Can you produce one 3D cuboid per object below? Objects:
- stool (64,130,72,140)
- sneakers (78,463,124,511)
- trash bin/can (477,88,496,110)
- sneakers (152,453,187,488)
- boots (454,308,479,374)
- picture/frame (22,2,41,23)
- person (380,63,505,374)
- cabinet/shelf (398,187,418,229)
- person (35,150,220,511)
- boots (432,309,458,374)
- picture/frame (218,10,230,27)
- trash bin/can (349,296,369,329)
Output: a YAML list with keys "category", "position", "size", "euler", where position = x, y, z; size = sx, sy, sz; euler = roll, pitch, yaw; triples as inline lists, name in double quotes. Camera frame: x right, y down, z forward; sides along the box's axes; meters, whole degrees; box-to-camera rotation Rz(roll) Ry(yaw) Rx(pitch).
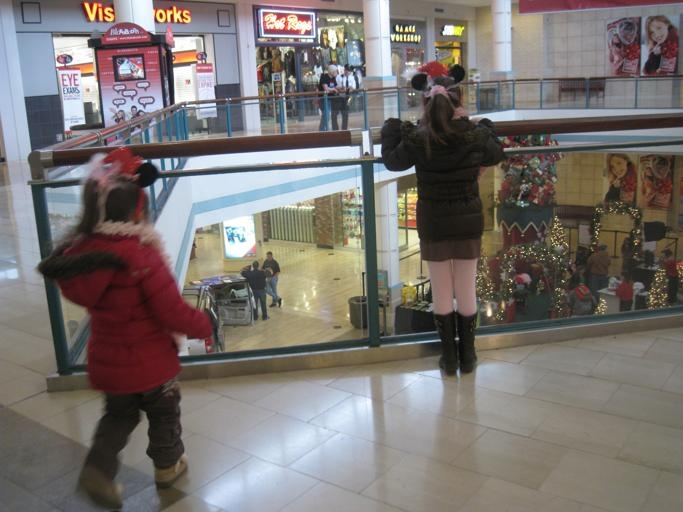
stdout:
- category: "stool"
  position: [-6.776, -2.983, 13.073]
  size: [0.203, 0.173, 1.376]
  euler: [-11, 16, -25]
- category: "sneakers"
  position: [-0.888, 0.854, 1.936]
  size: [0.093, 0.176, 0.171]
  euler: [-39, 36, 3]
- category: "trash bin/can"
  position: [4.051, -4.424, 14.829]
  size: [0.553, 0.660, 0.363]
  euler: [0, 8, 8]
- category: "sneakers"
  position: [-0.705, 0.903, 2.191]
  size: [0.061, 0.112, 0.164]
  euler: [6, 22, 18]
- category: "boots"
  position: [0.717, 0.483, 3.086]
  size: [0.142, 0.306, 0.326]
  euler: [-1, 7, 16]
- category: "picture/frame"
  position: [-7.799, -6.095, 13.228]
  size: [0.043, 0.586, 0.532]
  euler: [9, 13, 33]
- category: "person"
  position: [0.548, -0.191, 2.908]
  size: [0.640, 1.676, 0.351]
  euler: [0, 15, 16]
- category: "cabinet/shelf"
  position: [0.449, -0.285, 3.248]
  size: [0.143, 0.207, 0.143]
  euler: [-2, 9, 16]
- category: "person"
  position: [-0.848, 0.289, 2.038]
  size: [0.405, 1.358, 0.569]
  euler: [10, 20, 44]
- category: "boots"
  position: [0.638, 0.477, 3.115]
  size: [0.165, 0.346, 0.364]
  euler: [-7, 7, 11]
- category: "picture/frame"
  position: [-3.764, -7.563, 16.863]
  size: [0.060, 0.510, 0.475]
  euler: [9, 19, 41]
- category: "trash bin/can"
  position: [0.093, 0.357, 3.301]
  size: [0.213, 0.194, 0.215]
  euler: [1, -5, -1]
